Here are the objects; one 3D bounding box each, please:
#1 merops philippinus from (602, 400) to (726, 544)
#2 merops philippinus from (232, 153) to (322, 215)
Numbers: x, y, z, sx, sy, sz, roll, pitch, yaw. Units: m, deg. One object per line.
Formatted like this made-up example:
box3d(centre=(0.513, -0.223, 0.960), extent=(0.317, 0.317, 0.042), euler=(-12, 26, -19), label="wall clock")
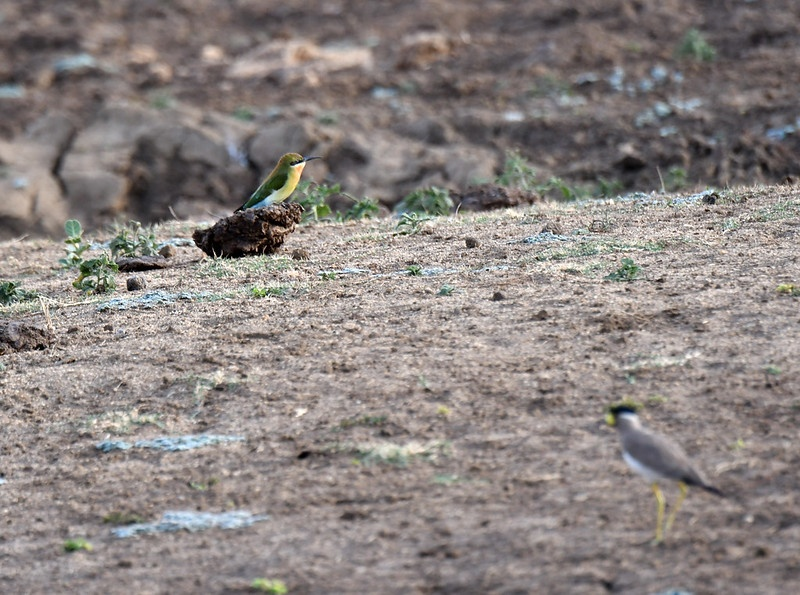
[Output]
box3d(centre=(1.656, 1.062, 8.353), extent=(0.550, 0.691, 0.750), euler=(-11, 27, 1), label="merops philippinus")
box3d(centre=(-1.138, -1.053, 12.220), extent=(0.616, 0.427, 0.344), euler=(-13, 28, -6), label="merops philippinus")
